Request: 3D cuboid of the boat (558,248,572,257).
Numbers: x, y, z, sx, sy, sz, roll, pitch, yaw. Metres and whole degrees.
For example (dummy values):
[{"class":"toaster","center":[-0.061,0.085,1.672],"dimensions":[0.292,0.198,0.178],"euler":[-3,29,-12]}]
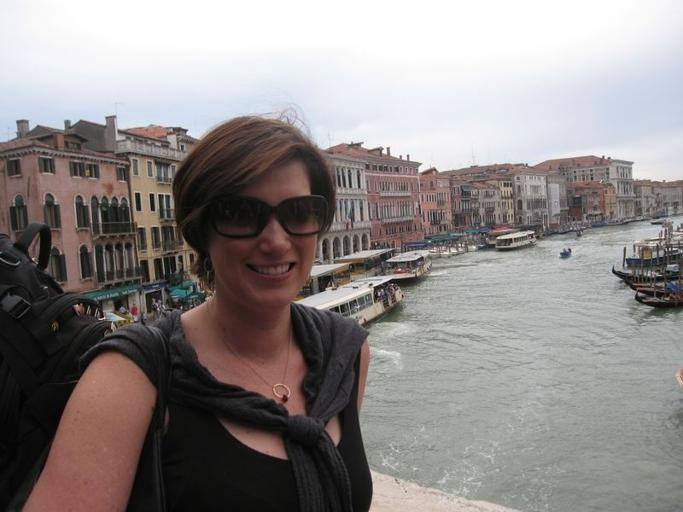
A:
[{"class":"boat","center":[26.940,-0.277,58.381],"dimensions":[1.145,1.318,3.811],"euler":[-2,2,30]}]
